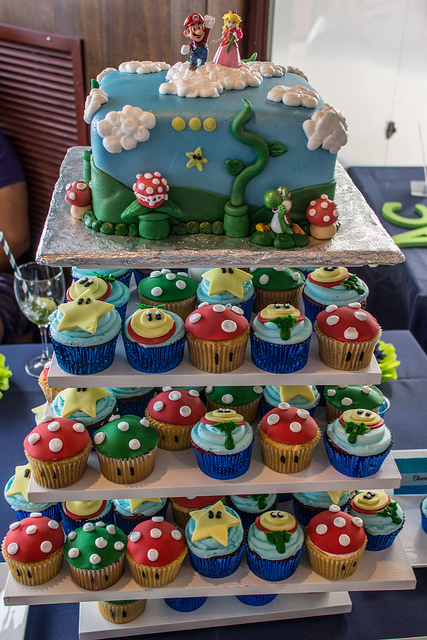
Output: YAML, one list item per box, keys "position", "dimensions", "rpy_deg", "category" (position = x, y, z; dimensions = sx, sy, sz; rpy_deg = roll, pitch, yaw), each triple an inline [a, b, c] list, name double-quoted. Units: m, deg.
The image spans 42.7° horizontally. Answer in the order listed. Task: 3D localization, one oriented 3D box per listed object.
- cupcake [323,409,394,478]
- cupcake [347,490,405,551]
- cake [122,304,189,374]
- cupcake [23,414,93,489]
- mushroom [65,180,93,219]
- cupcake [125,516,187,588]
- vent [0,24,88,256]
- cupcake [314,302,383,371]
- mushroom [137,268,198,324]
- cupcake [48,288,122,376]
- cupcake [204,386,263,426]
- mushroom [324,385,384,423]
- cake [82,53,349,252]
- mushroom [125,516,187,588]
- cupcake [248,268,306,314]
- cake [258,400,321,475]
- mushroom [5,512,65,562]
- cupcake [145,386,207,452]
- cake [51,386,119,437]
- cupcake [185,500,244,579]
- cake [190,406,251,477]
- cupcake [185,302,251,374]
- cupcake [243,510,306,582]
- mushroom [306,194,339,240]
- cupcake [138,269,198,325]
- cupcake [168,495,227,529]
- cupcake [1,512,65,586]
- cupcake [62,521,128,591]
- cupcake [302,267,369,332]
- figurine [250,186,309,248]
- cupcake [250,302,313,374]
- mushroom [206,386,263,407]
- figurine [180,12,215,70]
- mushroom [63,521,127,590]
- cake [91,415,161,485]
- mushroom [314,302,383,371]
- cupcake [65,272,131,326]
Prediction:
- position: [0.414, 0.343, 1.579]
  dimensions: [0.192, 0.163, 0.206]
  rpy_deg: [13, 24, 29]
  category: "cupcake"
- position: [0.554, 0.679, 1.829]
  dimensions: [0.208, 0.152, 0.213]
  rpy_deg: [-6, 6, 33]
  category: "cupcake"
- position: [-0.145, 0.047, 1.446]
  dimensions: [0.160, 0.127, 0.175]
  rpy_deg: [-3, 33, -3]
  category: "cake"
- position: [-0.429, 0.357, 1.503]
  dimensions: [0.175, 0.151, 0.184]
  rpy_deg: [3, 17, 3]
  category: "cupcake"
- position: [-0.330, -0.297, 1.351]
  dimensions: [0.074, 0.089, 0.066]
  rpy_deg: [-19, 59, -17]
  category: "mushroom"
- position: [-0.199, 0.687, 1.632]
  dimensions: [0.199, 0.160, 0.186]
  rpy_deg: [14, -12, 0]
  category: "cupcake"
- position: [-1.092, -1.070, 3.541]
  dimensions: [0.785, 1.489, 0.119]
  rpy_deg: [16, 35, 25]
  category: "vent"
- position: [0.349, 0.048, 1.494]
  dimensions: [0.177, 0.139, 0.167]
  rpy_deg: [-8, 34, -10]
  category: "cupcake"
- position: [-0.120, -0.083, 1.607]
  dimensions: [0.161, 0.127, 0.149]
  rpy_deg: [-21, 43, -25]
  category: "mushroom"
- position: [-0.328, 0.020, 1.410]
  dimensions: [0.186, 0.206, 0.197]
  rpy_deg: [14, 28, 14]
  category: "cupcake"
- position: [0.069, 0.242, 1.668]
  dimensions: [0.154, 0.115, 0.149]
  rpy_deg: [-2, 32, -3]
  category: "cupcake"
- position: [0.440, 0.236, 1.713]
  dimensions: [0.139, 0.098, 0.157]
  rpy_deg: [22, 37, 32]
  category: "mushroom"
- position: [-0.024, -0.430, 1.336]
  dimensions: [0.620, 0.383, 0.554]
  rpy_deg: [-6, 30, -10]
  category: "cake"
- position: [-0.176, 0.671, 1.663]
  dimensions: [0.207, 0.163, 0.204]
  rpy_deg: [2, 37, -6]
  category: "mushroom"
- position: [0.190, -0.100, 1.600]
  dimensions: [0.142, 0.118, 0.146]
  rpy_deg: [0, 32, 1]
  category: "cupcake"
- position: [0.208, 0.333, 1.614]
  dimensions: [0.198, 0.165, 0.195]
  rpy_deg: [2, 36, 3]
  category: "cake"
- position: [-0.520, 0.632, 1.587]
  dimensions: [0.155, 0.088, 0.136]
  rpy_deg: [-17, 34, -27]
  category: "mushroom"
- position: [-0.110, 0.281, 1.678]
  dimensions: [0.218, 0.172, 0.209]
  rpy_deg: [1, 34, -3]
  category: "cupcake"
- position: [-0.368, 0.251, 1.665]
  dimensions: [0.204, 0.167, 0.190]
  rpy_deg: [1, 41, -3]
  category: "cake"
- position: [0.005, 0.661, 1.644]
  dimensions: [0.162, 0.175, 0.159]
  rpy_deg: [-6, 19, 5]
  category: "cupcake"
- position: [0.000, 0.330, 1.560]
  dimensions: [0.191, 0.159, 0.188]
  rpy_deg: [-2, 40, -5]
  category: "cake"
- position: [0.014, 0.048, 1.472]
  dimensions: [0.188, 0.149, 0.175]
  rpy_deg: [2, 38, 1]
  category: "cupcake"
- position: [0.187, 0.679, 1.669]
  dimensions: [0.185, 0.167, 0.203]
  rpy_deg: [2, 14, 10]
  category: "cupcake"
- position: [0.269, -0.244, 1.305]
  dimensions: [0.084, 0.099, 0.076]
  rpy_deg: [-7, 30, 5]
  category: "mushroom"
- position: [-0.132, -0.068, 1.614]
  dimensions: [0.162, 0.128, 0.149]
  rpy_deg: [-3, 42, -3]
  category: "cupcake"
- position: [-0.048, 0.588, 1.771]
  dimensions: [0.149, 0.105, 0.148]
  rpy_deg: [-2, 31, -4]
  category: "cupcake"
- position: [-0.510, 0.659, 1.652]
  dimensions: [0.198, 0.169, 0.203]
  rpy_deg: [-1, 32, -8]
  category: "cupcake"
- position: [-0.364, 0.688, 1.620]
  dimensions: [0.203, 0.134, 0.200]
  rpy_deg: [7, 14, 7]
  category: "cupcake"
- position: [0.330, -0.084, 1.587]
  dimensions: [0.182, 0.164, 0.195]
  rpy_deg: [1, 38, 3]
  category: "cupcake"
- position: [0.156, -0.252, 1.288]
  dimensions: [0.159, 0.131, 0.148]
  rpy_deg: [14, 26, 33]
  category: "figurine"
- position: [0.174, 0.055, 1.442]
  dimensions: [0.161, 0.146, 0.161]
  rpy_deg: [4, 30, 7]
  category: "cupcake"
- position: [0.063, 0.229, 1.669]
  dimensions: [0.171, 0.042, 0.095]
  rpy_deg: [0, 29, -1]
  category: "mushroom"
- position: [-0.042, -0.720, 1.409]
  dimensions: [0.082, 0.123, 0.194]
  rpy_deg: [-1, 30, -1]
  category: "figurine"
- position: [-0.333, 0.668, 1.568]
  dimensions: [0.190, 0.129, 0.193]
  rpy_deg: [0, 33, -5]
  category: "mushroom"
- position: [-0.233, 0.349, 1.469]
  dimensions: [0.182, 0.121, 0.178]
  rpy_deg: [1, 31, -2]
  category: "cake"
- position: [0.374, 0.048, 1.478]
  dimensions: [0.181, 0.145, 0.166]
  rpy_deg: [-10, 17, -8]
  category: "mushroom"
- position: [-0.285, -0.081, 1.475]
  dimensions: [0.139, 0.136, 0.158]
  rpy_deg: [13, 40, 10]
  category: "cupcake"
